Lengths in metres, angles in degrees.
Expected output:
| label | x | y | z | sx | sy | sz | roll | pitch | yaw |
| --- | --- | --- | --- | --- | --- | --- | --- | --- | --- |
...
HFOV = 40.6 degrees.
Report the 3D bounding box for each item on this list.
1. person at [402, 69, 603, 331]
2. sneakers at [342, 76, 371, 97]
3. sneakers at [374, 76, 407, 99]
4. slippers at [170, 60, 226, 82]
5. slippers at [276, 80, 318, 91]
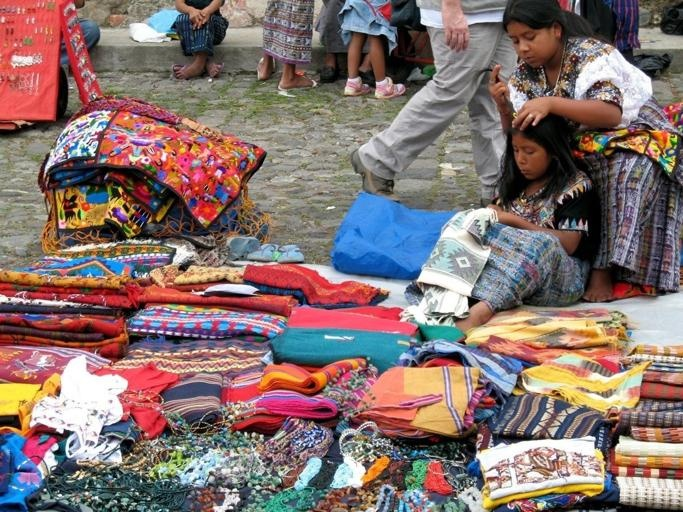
| label | x | y | z | sx | sy | sz | roll | pitch | yaw |
| --- | --- | --- | --- | --- | --- | --- | --- | --- | --- |
| person | 0.851 | -0.263 | 5.257 | 1.293 | 1.055 | 0.819 | -16 | 24 | -33 |
| sneakers | 0.152 | -1.706 | 9.433 | 0.141 | 0.138 | 0.344 | 13 | 20 | 35 |
| sneakers | 0.479 | -1.656 | 9.284 | 0.405 | 0.161 | 0.156 | -16 | 28 | -38 |
| slippers | -1.478 | -2.024 | 10.113 | 0.751 | 0.254 | 0.193 | 3 | 22 | -7 |
| slippers | -0.463 | -1.781 | 9.741 | 0.398 | 0.120 | 0.133 | -6 | 14 | -12 |
